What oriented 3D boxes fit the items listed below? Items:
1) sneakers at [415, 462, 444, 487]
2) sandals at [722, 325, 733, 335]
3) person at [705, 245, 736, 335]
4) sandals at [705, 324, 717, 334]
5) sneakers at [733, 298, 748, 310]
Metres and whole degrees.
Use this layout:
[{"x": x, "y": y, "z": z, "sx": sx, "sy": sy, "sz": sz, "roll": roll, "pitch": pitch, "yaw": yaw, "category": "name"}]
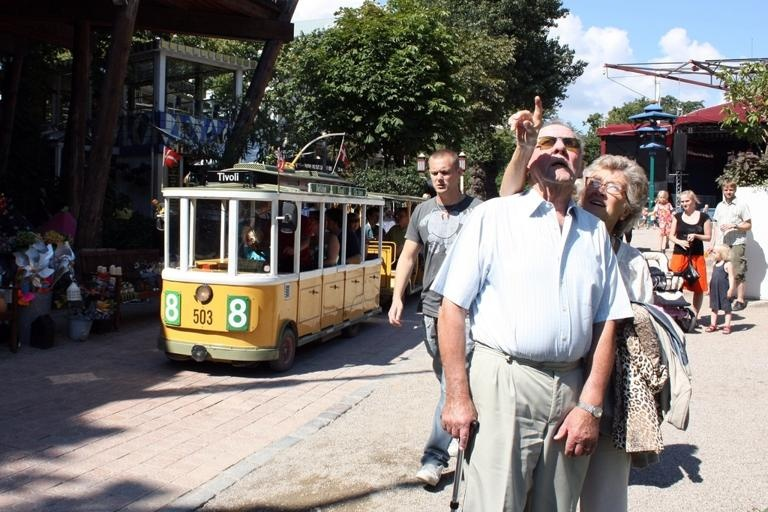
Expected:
[{"x": 0.448, "y": 2.092, "z": 6.095, "sx": 0.141, "sy": 0.140, "sz": 0.311, "roll": 37, "pitch": -1, "yaw": 19, "category": "sneakers"}, {"x": 6.359, "y": 1.387, "z": 11.764, "sx": 0.121, "sy": 0.099, "sz": 0.363, "roll": -3, "pitch": -1, "yaw": 23, "category": "sandals"}, {"x": 6.385, "y": 0.599, "z": 11.978, "sx": 0.421, "sy": 1.609, "sz": 0.986, "roll": 5, "pitch": 9, "yaw": 29, "category": "person"}, {"x": 6.194, "y": 1.375, "z": 11.893, "sx": 0.309, "sy": 0.131, "sz": 0.123, "roll": 1, "pitch": 3, "yaw": 22, "category": "sandals"}, {"x": 7.819, "y": 1.073, "z": 13.927, "sx": 0.208, "sy": 0.262, "sz": 0.633, "roll": -2, "pitch": -3, "yaw": 38, "category": "sneakers"}]
